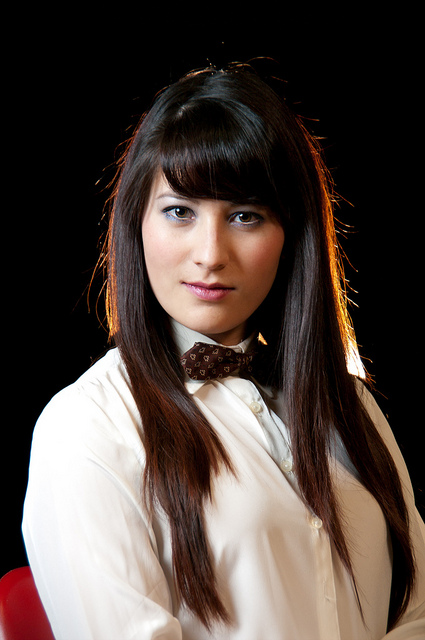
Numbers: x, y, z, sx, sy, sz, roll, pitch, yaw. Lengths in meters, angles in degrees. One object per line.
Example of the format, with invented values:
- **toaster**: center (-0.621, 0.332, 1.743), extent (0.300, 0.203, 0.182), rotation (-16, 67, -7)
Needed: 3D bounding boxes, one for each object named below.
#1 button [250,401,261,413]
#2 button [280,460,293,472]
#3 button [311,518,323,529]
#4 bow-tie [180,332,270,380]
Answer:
- **button**: center (0.094, 0.190, 1.309), extent (0.020, 0.019, 0.006), rotation (0, -37, -12)
- **button**: center (0.156, 0.308, 1.260), extent (0.029, 0.018, 0.016), rotation (-10, -6, -10)
- **button**: center (0.206, 0.401, 1.181), extent (0.021, 0.020, 0.006), rotation (2, -24, -14)
- **bow-tie**: center (0.047, 0.091, 1.336), extent (0.262, 0.084, 0.045), rotation (3, -2, -41)
